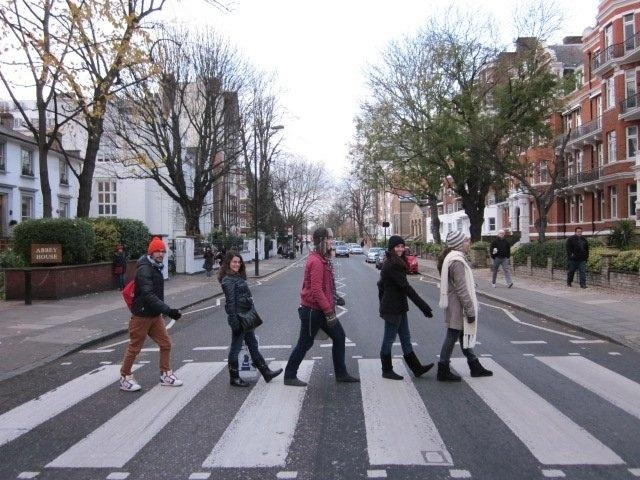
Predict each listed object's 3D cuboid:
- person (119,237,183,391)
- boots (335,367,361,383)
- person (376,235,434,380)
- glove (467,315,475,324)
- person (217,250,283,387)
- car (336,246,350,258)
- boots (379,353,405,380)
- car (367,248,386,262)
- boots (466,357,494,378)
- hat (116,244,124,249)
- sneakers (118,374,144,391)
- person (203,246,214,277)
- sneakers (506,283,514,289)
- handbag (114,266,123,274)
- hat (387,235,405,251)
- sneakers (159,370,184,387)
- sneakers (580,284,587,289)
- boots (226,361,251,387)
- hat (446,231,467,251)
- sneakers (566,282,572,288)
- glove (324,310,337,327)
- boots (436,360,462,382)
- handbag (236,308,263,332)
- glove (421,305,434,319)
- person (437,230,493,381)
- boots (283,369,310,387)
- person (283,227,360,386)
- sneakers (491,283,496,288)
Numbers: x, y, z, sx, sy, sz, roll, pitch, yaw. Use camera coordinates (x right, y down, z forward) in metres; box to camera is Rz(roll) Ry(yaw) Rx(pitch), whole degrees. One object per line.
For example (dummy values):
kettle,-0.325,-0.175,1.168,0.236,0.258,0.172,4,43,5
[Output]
person,-2.713,1.201,8.786,0.927,2.423,0.574,-2,4,-10
boots,0.469,2.213,8.919,0.449,0.255,0.167,-1,3,-4
person,1.345,1.106,8.970,0.906,2.368,0.852,0,5,18
glove,2.363,1.275,8.673,0.090,0.083,0.101,-1,-5,-3
person,-1.190,1.280,9.036,0.829,2.165,0.841,-1,4,-6
car,2.567,1.473,64.844,1.116,1.067,2.820,-1,-2,0
boots,1.126,2.113,8.982,0.426,0.510,0.238,0,2,0
car,4.208,1.179,41.876,0.850,0.915,1.976,-1,-4,0
boots,2.647,2.133,9.133,0.514,0.436,0.191,-2,1,-8
hat,-8.190,0.275,22.653,0.184,0.210,0.110,-1,-7,-29
sneakers,-3.005,2.310,8.826,0.420,0.231,0.174,0,1,31
person,-6.104,1.274,30.523,0.345,1.450,2.057,-2,4,-10
sneakers,7.055,1.721,20.638,0.102,0.160,0.313,-2,-8,0
handbag,-7.879,1.209,21.686,0.336,0.302,0.218,1,7,11
hat,1.221,0.050,8.875,0.230,0.238,0.232,2,2,0
sneakers,-2.395,2.284,8.996,0.417,0.257,0.174,2,7,9
sneakers,9.263,1.680,19.514,0.158,0.137,0.096,-1,-4,4
boots,-1.342,2.220,8.830,0.453,0.438,0.201,0,1,2
hat,2.174,-0.004,8.944,0.306,0.311,0.260,-18,24,15
sneakers,8.982,1.678,20.034,0.173,0.321,0.180,-1,-11,12
glove,0.166,1.239,8.501,0.149,0.213,0.189,-1,-7,9
boots,2.010,2.138,8.916,0.434,0.384,0.201,-4,5,-7
handbag,-1.085,1.295,8.813,0.167,0.342,0.476,2,6,38
glove,1.659,1.138,8.501,0.212,0.176,0.198,-3,5,-20
person,2.241,1.080,8.892,0.683,2.400,0.570,0,5,18
boots,-0.364,2.225,8.778,0.370,0.302,0.179,1,2,-2
person,-0.029,1.073,8.781,1.117,2.508,0.817,-1,4,-4
sneakers,6.617,1.779,21.130,0.103,0.163,0.343,-4,-7,4
